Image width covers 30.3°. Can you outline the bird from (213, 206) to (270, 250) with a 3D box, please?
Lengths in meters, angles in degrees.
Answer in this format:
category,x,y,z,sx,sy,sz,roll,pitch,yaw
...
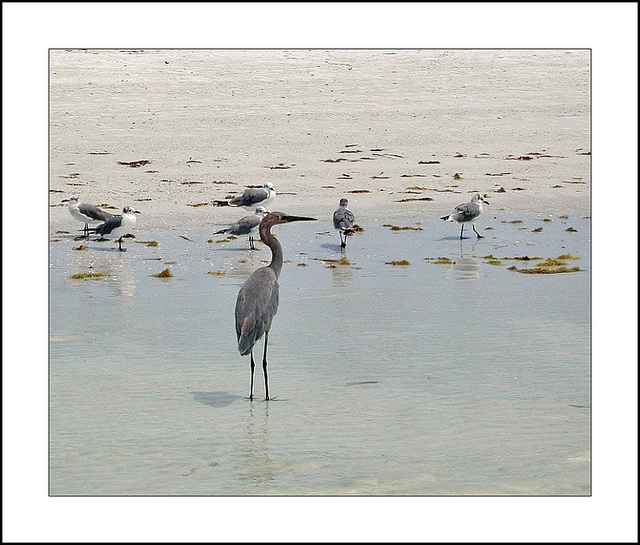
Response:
category,x,y,z,sx,sy,sz,roll,pitch,yaw
bird,-2.022,-1.277,31.085,1.457,0.795,0.421,10,39,13

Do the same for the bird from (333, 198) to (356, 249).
category,x,y,z,sx,sy,sz,roll,pitch,yaw
bird,0.656,-1.389,31.233,0.631,1.124,1.525,2,9,-6
